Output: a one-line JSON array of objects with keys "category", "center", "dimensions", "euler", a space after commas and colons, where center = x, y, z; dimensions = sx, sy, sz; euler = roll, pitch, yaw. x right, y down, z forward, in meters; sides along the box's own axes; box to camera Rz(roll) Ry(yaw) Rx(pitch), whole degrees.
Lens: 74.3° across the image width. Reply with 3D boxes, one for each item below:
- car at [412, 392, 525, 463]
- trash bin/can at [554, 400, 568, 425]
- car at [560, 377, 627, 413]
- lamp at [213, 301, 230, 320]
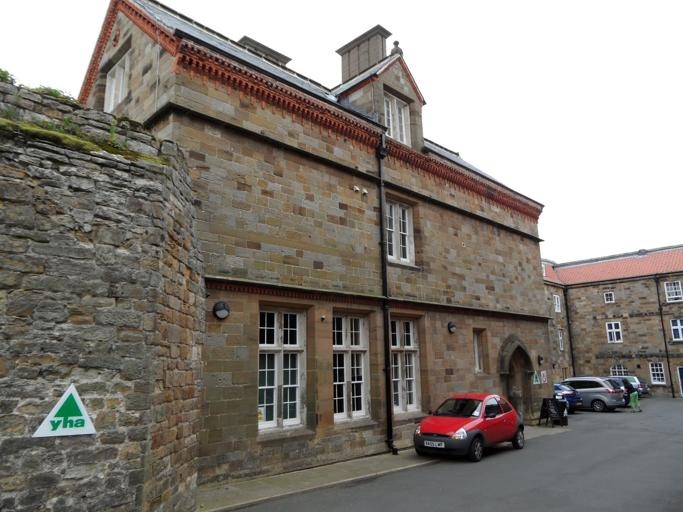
[{"category": "car", "center": [3.799, 5.061, 13.554], "dimensions": [1.779, 1.366, 2.918], "euler": [-17, -30, 40]}, {"category": "trash bin/can", "center": [9.512, 6.832, 19.634], "dimensions": [0.700, 1.102, 0.437], "euler": [11, -21, -42]}, {"category": "car", "center": [15.438, 8.438, 27.730], "dimensions": [3.150, 1.325, 1.870], "euler": [-9, -17, 44]}, {"category": "lamp", "center": [-2.827, 1.290, 10.711], "dimensions": [0.391, 0.449, 0.158], "euler": [11, -21, -42]}]
